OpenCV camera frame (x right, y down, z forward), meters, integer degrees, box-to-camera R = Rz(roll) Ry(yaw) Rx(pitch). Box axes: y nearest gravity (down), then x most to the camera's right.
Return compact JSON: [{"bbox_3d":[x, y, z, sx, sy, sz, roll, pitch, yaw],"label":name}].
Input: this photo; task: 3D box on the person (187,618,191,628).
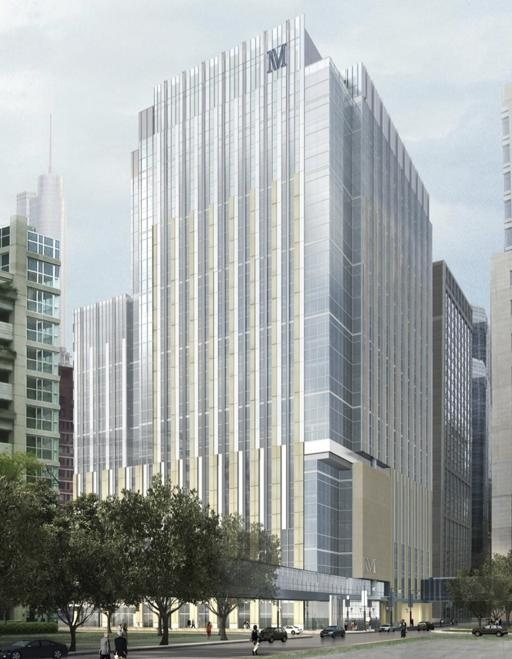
[{"bbox_3d":[-8.541,37.209,206.207,0.562,1.149,2.271,1,-11,-1],"label":"person"}]
